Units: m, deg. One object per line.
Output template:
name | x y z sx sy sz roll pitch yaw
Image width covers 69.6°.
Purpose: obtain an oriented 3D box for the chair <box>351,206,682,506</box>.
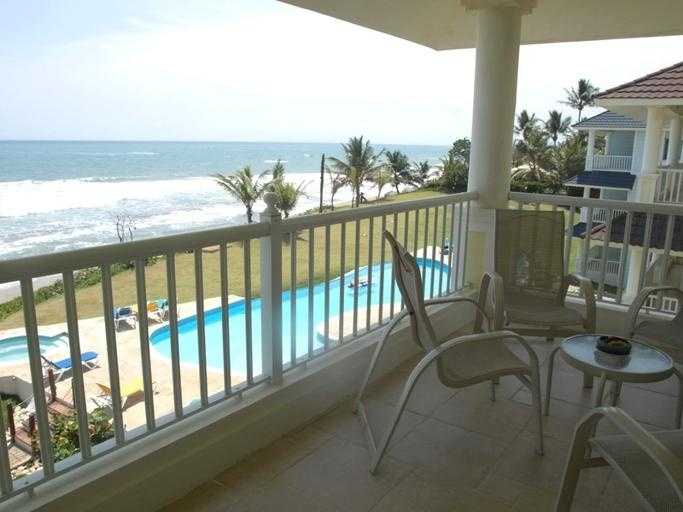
chair | 0.918 0.324 3.372 1.676 1.260 1.959 -1 15 0
